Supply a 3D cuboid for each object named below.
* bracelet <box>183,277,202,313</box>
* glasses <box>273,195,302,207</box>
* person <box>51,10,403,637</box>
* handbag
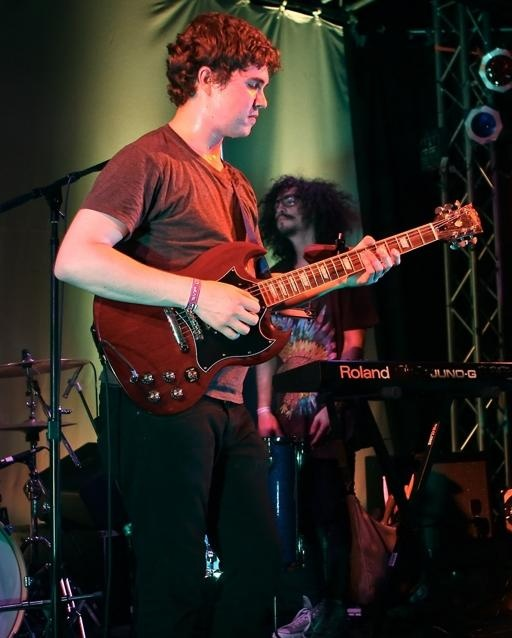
[{"bbox_3d":[-0.179,-0.059,2.203,0.020,0.074,0.073,16,-34,4],"label":"bracelet"},{"bbox_3d":[0.205,-0.790,5.147,0.118,0.070,0.026,-13,-19,-1],"label":"glasses"},{"bbox_3d":[-0.186,-0.035,2.304,0.763,1.957,0.300,-5,-8,-33],"label":"person"},{"bbox_3d":[0.492,1.037,3.398,0.263,0.398,0.115,16,-15,-29],"label":"handbag"}]
